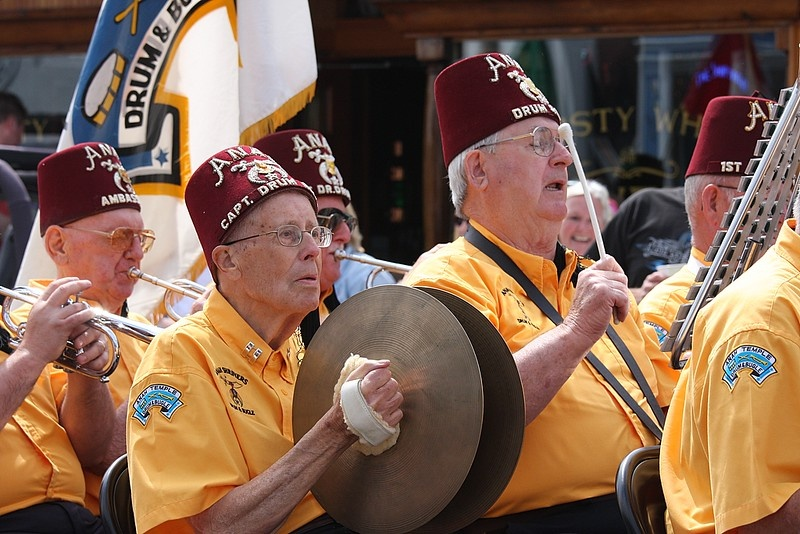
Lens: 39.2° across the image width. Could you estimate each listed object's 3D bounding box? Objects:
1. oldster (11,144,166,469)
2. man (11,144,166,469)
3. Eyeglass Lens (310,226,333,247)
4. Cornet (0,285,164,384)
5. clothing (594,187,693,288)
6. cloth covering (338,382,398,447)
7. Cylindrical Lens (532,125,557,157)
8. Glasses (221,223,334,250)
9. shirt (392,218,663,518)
[{"bbox_3d":[-1.760,0.240,6.633,0.898,1.642,0.840,-6,-22,-20],"label":"oldster"},{"bbox_3d":[-1.762,0.234,6.640,0.898,1.642,0.840,-6,-22,-20],"label":"man"},{"bbox_3d":[-0.389,-0.166,5.559,0.095,0.038,0.100,-12,-31,31],"label":"Eyeglass Lens"},{"bbox_3d":[-1.703,0.364,5.889,0.822,0.308,0.274,21,-4,8],"label":"Cornet"},{"bbox_3d":[1.864,-0.221,8.419,0.669,0.633,0.263,26,-5,-9],"label":"clothing"},{"bbox_3d":[-0.131,0.681,5.102,0.268,0.354,0.129,-1,4,-35],"label":"cloth covering"},{"bbox_3d":[0.757,-0.671,5.860,0.147,0.064,0.141,5,-10,1],"label":"Cylindrical Lens"},{"bbox_3d":[-0.563,-0.146,5.504,0.272,0.075,0.212,-11,-8,24],"label":"Glasses"},{"bbox_3d":[0.623,0.543,5.479,0.596,1.083,1.195,-31,-31,36],"label":"shirt"}]
